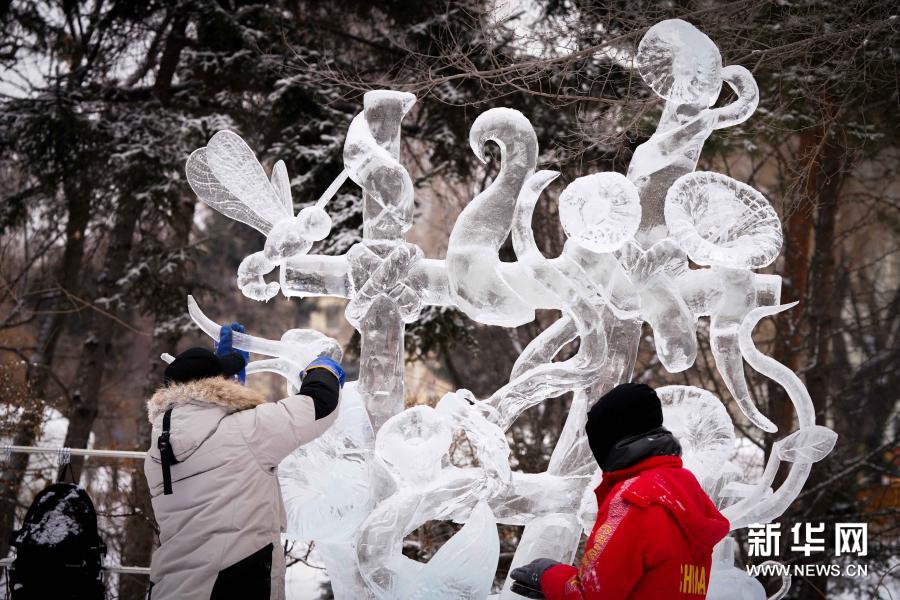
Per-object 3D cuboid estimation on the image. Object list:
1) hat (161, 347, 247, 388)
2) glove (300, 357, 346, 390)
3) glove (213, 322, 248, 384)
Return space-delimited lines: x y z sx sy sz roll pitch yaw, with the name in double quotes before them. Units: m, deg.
"hat" -2.234 0.599 10.226 0.511 0.277 0.373 6 -8 -39
"glove" -1.166 0.679 10.371 0.346 0.257 0.280 -27 9 0
"glove" -2.040 0.469 10.451 0.181 0.510 0.379 -13 -25 14
